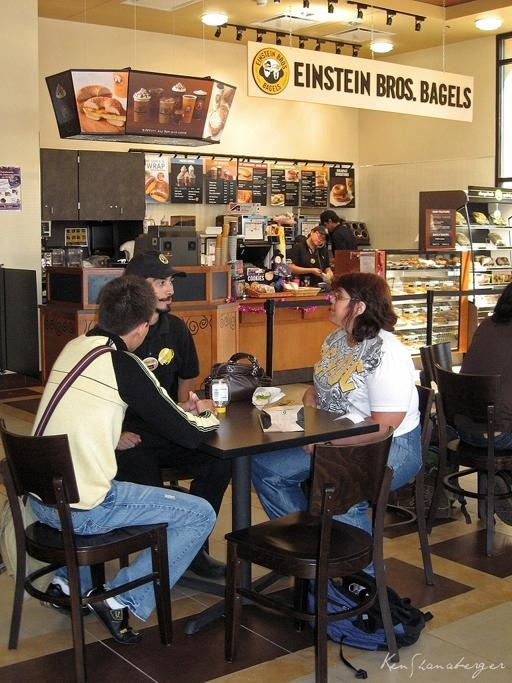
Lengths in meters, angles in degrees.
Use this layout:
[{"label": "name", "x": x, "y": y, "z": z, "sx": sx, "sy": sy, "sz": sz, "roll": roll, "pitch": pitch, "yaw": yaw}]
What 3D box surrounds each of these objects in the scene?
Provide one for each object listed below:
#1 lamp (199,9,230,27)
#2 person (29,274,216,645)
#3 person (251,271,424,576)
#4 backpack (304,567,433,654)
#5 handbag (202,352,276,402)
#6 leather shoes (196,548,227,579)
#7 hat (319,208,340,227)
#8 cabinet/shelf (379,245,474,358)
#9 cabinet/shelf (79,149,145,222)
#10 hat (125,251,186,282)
[{"label": "lamp", "x": -0.582, "y": -4.394, "z": 7.763, "sx": 0.334, "sy": 0.073, "sz": 0.328, "roll": 3, "pitch": 9, "yaw": 19}, {"label": "person", "x": -0.418, "y": 0.425, "z": 1.798, "sx": 0.407, "sy": 1.240, "sz": 0.587, "roll": 6, "pitch": 11, "yaw": 44}, {"label": "person", "x": 0.301, "y": 0.272, "z": 2.340, "sx": 0.690, "sy": 1.080, "sz": 0.602, "roll": -3, "pitch": 6, "yaw": -15}, {"label": "backpack", "x": 0.362, "y": 0.840, "z": 1.888, "sx": 0.346, "sy": 0.114, "sz": 0.282, "roll": 4, "pitch": 6, "yaw": 19}, {"label": "handbag", "x": -0.076, "y": 0.150, "z": 2.570, "sx": 0.378, "sy": 0.244, "sz": 0.200, "roll": 0, "pitch": 1, "yaw": -37}, {"label": "leather shoes", "x": -0.200, "y": 0.959, "z": 2.492, "sx": 0.163, "sy": 0.144, "sz": 0.082, "roll": -1, "pitch": 4, "yaw": 6}, {"label": "hat", "x": 1.087, "y": -1.814, "z": 8.415, "sx": 0.277, "sy": 0.248, "sz": 0.274, "roll": 0, "pitch": 8, "yaw": 10}, {"label": "cabinet/shelf", "x": 1.791, "y": -0.485, "z": 6.013, "sx": 1.475, "sy": 1.281, "sz": 0.508, "roll": -5, "pitch": 6, "yaw": -42}, {"label": "cabinet/shelf", "x": -2.071, "y": -2.213, "z": 8.136, "sx": 1.115, "sy": 0.974, "sz": 0.690, "roll": -3, "pitch": 5, "yaw": -37}, {"label": "hat", "x": -0.511, "y": -0.385, "z": 2.908, "sx": 0.267, "sy": 0.127, "sz": 0.166, "roll": 5, "pitch": 10, "yaw": 16}]
